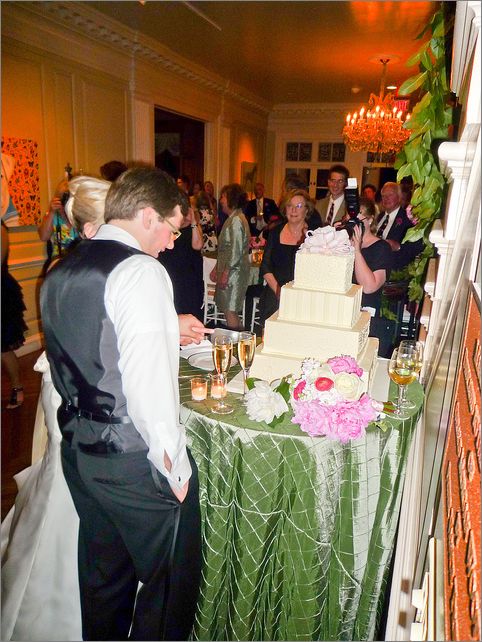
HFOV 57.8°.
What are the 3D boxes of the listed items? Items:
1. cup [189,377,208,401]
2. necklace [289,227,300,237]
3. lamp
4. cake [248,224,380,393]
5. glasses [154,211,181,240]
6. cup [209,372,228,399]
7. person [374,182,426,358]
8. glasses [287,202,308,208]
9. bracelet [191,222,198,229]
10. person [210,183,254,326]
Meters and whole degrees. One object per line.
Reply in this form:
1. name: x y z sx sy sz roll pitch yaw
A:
1. cup: -0.147 0.239 1.535 0.062 0.077 0.067 1 1 0
2. necklace: 0.423 -0.692 3.410 0.053 0.056 0.041 11 -32 -3
3. lamp: 2.239 -3.448 6.951 0.902 1.484 0.922 3 19 5
4. cake: 0.290 -0.034 1.626 0.459 0.573 0.475 8 13 4
5. glasses: -0.223 -0.295 1.402 0.024 0.083 0.079 -31 10 -2
6. cup: -0.069 0.231 1.568 0.073 0.091 0.078 1 1 0
7. person: 1.947 -0.799 5.071 0.648 0.647 2.093 -1 57 11
8. glasses: 0.417 -0.856 3.240 0.136 0.037 0.047 2 12 3
9. bracelet: -0.471 -0.963 4.414 0.018 0.058 0.055 13 28 33
10. person: -0.086 -0.613 4.420 0.344 1.486 0.454 0 12 -6
